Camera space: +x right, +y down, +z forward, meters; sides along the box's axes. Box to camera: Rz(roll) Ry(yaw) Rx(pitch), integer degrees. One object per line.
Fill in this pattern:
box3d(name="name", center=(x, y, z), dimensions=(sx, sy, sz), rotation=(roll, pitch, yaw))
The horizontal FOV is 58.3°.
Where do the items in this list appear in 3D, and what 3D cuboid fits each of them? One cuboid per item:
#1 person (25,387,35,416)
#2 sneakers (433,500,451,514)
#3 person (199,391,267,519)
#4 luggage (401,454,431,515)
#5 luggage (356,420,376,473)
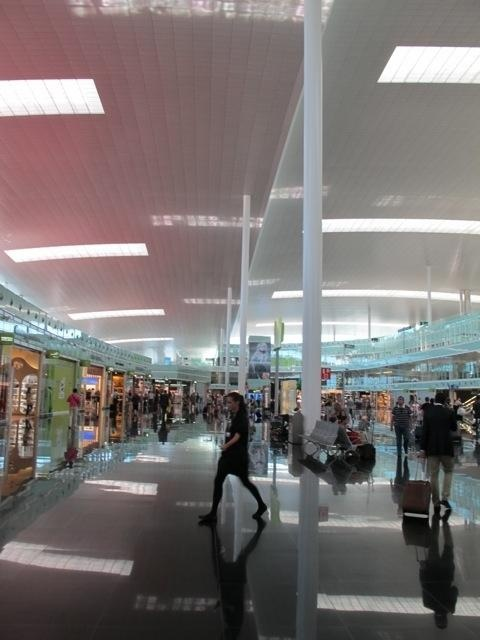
box3d(name="person", center=(-10.290, 3.995, 21.105), dimensions=(0.331, 1.389, 0.843), rotation=(5, -11, -26))
box3d(name="sneakers", center=(2.526, 2.356, 5.412), dimensions=(0.087, 0.192, 0.243), rotation=(3, -4, -20))
box3d(name="person", center=(-0.059, 1.433, 4.558), dimensions=(0.420, 1.314, 0.941), rotation=(-10, -14, 43))
box3d(name="luggage", center=(1.999, 2.046, 4.905), dimensions=(0.303, 0.392, 0.292), rotation=(-4, -11, 20))
box3d(name="luggage", center=(3.289, 3.571, 11.601), dimensions=(0.295, 0.767, 1.831), rotation=(-18, -11, 16))
